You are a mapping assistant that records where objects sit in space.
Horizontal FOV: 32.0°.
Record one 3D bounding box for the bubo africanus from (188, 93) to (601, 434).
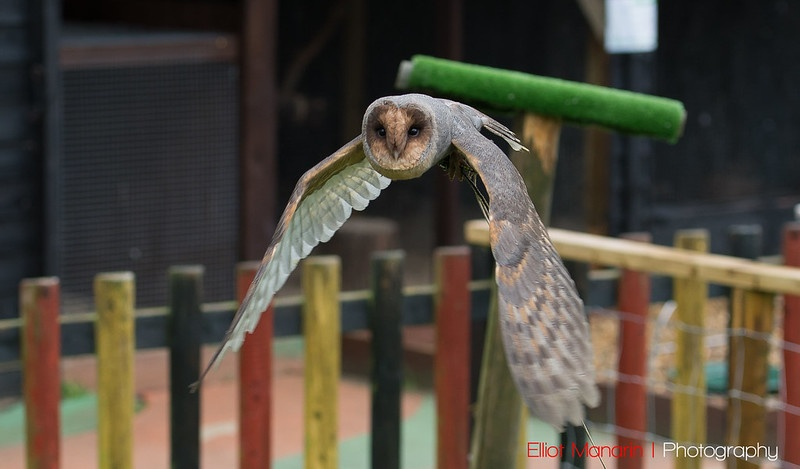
[{"bbox_3d":[0.074,0.042,7.845,2.443,1.819,1.602,17,30,31],"label":"bubo africanus"}]
